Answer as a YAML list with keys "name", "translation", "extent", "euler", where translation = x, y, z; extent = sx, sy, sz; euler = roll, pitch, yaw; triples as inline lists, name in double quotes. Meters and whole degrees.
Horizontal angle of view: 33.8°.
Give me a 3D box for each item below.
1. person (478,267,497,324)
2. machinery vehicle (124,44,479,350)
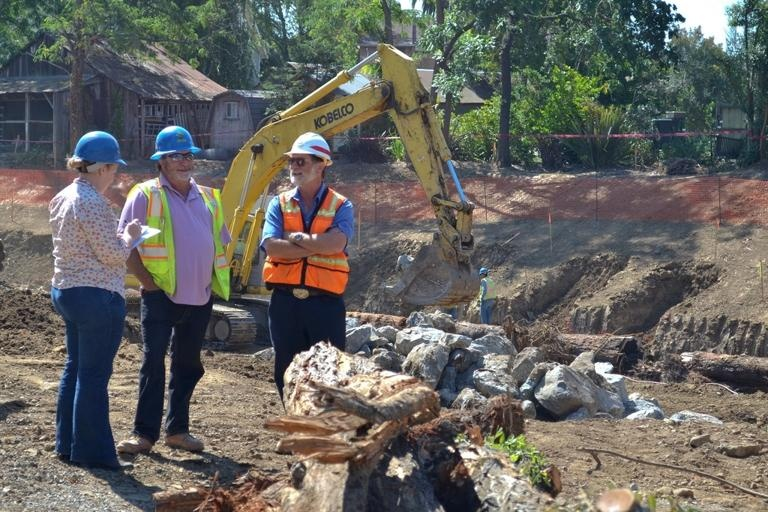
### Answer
- name: "person"
  translation: [2.697, 1.041, 33.425]
  extent: [0.439, 1.440, 0.671]
  euler: [3, 3, 4]
- name: "machinery vehicle"
  translation: [-2.144, -1.249, 31.042]
  extent: [9.918, 6.192, 2.897]
  euler: [-4, 2, 37]
